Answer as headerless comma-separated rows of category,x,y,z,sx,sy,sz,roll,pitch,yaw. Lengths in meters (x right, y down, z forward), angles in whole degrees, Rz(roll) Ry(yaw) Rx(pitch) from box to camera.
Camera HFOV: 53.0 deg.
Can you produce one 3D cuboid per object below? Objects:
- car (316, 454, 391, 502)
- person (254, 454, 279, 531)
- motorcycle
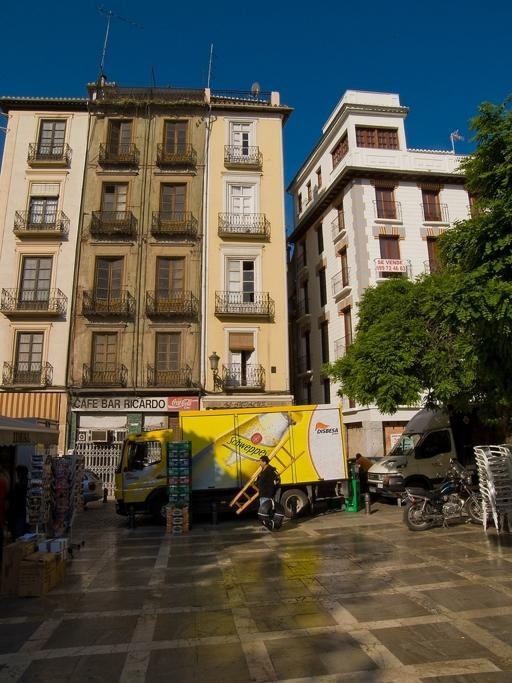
car,2.756,4.007,15.594,2.384,1.203,1.378,11,-20,-27
person,0.241,3.512,12.026,0.528,1.718,0.480,-9,14,-31
motorcycle,4.376,3.558,11.834,2.182,1.452,0.995,-2,-9,-10
